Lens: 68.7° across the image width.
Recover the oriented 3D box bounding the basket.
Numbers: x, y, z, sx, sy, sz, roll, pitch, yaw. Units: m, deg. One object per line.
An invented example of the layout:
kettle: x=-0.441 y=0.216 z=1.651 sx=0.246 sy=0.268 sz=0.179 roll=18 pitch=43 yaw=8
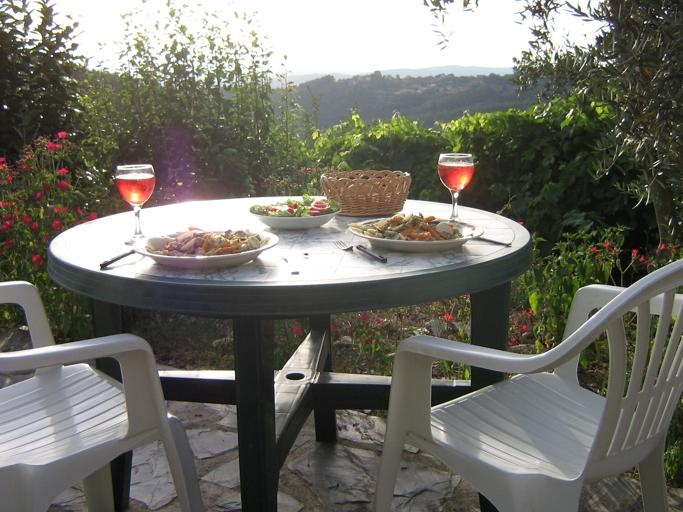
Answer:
basket: x=0.122 y=-0.314 z=2.417 sx=0.382 sy=0.274 sz=0.386 roll=7 pitch=13 yaw=35

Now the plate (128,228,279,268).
plate: x=-0.439 y=-0.060 z=1.628 sx=0.370 sy=0.120 sz=0.341 roll=-6 pitch=11 yaw=-39

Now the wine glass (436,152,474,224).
wine glass: x=0.477 y=-0.284 z=2.096 sx=0.145 sy=0.299 sz=0.150 roll=9 pitch=25 yaw=28

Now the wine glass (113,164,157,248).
wine glass: x=-0.781 y=-0.197 z=1.904 sx=0.129 sy=0.293 sz=0.137 roll=1 pitch=10 yaw=-2

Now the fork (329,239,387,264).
fork: x=0.061 y=-0.014 z=1.730 sx=0.030 sy=0.033 sz=0.211 roll=11 pitch=9 yaw=-34
